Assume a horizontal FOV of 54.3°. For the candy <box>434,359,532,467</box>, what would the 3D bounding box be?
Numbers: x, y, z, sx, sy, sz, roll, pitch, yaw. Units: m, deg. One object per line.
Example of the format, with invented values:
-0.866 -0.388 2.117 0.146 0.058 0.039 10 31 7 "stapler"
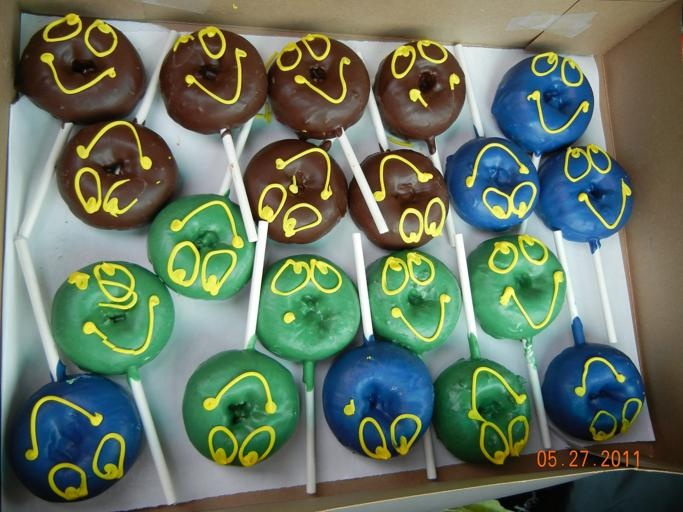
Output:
0.656 0.720 2.999 0.408 0.471 0.151 -6 -16 -4 "candy"
